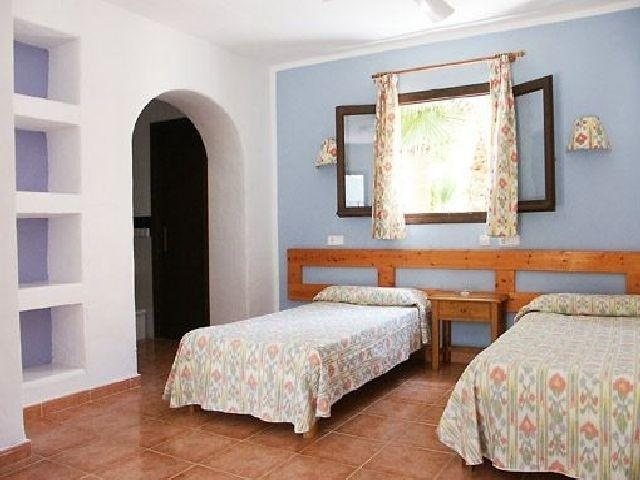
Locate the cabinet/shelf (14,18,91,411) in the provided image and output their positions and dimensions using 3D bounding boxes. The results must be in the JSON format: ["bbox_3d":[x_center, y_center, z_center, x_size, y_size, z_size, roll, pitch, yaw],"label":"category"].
[{"bbox_3d":[-2.248,-0.238,4.299,0.620,2.963,0.616,-5,7,-43],"label":"cabinet/shelf"}]

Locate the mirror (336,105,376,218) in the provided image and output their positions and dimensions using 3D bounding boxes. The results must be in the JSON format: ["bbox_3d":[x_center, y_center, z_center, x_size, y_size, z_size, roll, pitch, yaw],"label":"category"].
[{"bbox_3d":[0.438,-0.854,5.677,0.516,1.178,0.035,4,8,27],"label":"mirror"}]

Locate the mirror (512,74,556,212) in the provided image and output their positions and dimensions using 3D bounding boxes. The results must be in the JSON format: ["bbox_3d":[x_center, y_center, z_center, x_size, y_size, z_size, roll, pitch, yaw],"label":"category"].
[{"bbox_3d":[2.046,-0.900,4.955,0.377,1.273,0.194,1,5,21],"label":"mirror"}]

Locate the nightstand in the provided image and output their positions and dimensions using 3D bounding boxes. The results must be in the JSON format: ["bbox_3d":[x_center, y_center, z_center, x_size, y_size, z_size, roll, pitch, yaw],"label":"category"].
[{"bbox_3d":[1.434,0.746,5.179,0.838,0.886,0.671,-1,-2,24],"label":"nightstand"}]

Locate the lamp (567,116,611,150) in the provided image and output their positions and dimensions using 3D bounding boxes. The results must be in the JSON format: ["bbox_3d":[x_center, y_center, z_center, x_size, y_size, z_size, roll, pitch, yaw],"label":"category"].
[{"bbox_3d":[2.432,-0.951,4.765,0.301,0.302,0.315,0,1,6],"label":"lamp"}]

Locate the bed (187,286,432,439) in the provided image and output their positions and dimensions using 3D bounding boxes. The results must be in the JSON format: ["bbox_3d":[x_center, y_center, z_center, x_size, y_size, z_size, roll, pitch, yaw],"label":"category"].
[{"bbox_3d":[-0.077,0.945,4.347,1.338,0.700,2.026,3,6,41],"label":"bed"}]

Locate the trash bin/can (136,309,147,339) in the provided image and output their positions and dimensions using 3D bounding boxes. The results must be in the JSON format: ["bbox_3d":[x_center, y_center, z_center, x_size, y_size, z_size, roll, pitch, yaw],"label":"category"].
[{"bbox_3d":[-2.248,1.067,6.552,0.079,0.365,0.205,0,5,12],"label":"trash bin/can"}]
